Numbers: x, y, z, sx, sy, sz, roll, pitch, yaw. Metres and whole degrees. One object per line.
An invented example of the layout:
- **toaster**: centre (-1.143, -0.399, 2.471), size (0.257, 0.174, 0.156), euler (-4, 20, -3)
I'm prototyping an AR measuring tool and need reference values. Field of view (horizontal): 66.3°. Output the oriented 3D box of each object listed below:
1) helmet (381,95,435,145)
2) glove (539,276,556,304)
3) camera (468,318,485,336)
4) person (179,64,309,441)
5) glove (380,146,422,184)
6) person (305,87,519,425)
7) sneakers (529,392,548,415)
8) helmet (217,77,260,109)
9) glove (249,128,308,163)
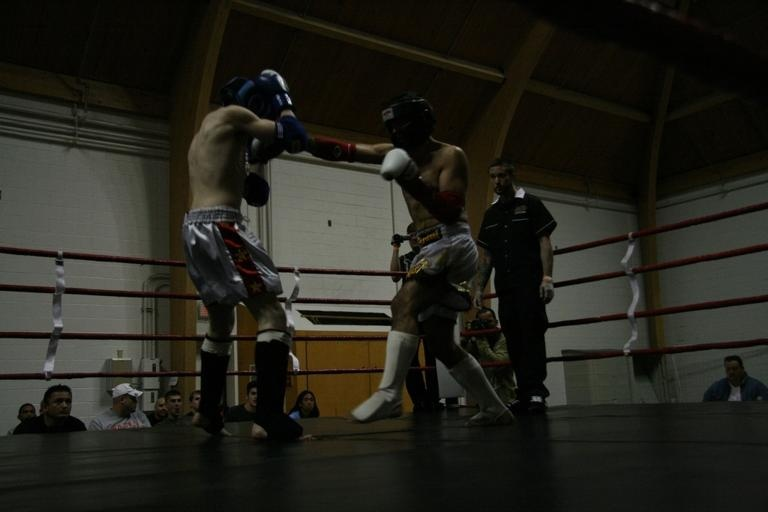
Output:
- **helmet**: centre (0.104, -0.692, 3.076), size (0.270, 0.248, 0.241), euler (0, -5, -10)
- **glove**: centre (1.127, 0.225, 4.083), size (0.090, 0.186, 0.176), euler (-3, -12, 13)
- **camera**: centre (0.833, 0.658, 5.479), size (0.066, 0.123, 0.167), euler (5, -7, -24)
- **person**: centre (-0.714, -0.056, 2.916), size (0.476, 1.856, 0.680), euler (11, -17, -43)
- **glove**: centre (0.073, -0.397, 2.549), size (0.170, 0.120, 0.066), euler (-27, -30, -49)
- **person**: centre (0.120, -0.002, 2.972), size (0.626, 1.669, 1.031), euler (-10, -15, 37)
- **sneakers**: centre (0.994, 0.959, 3.812), size (0.115, 0.107, 0.090), euler (-1, -12, 4)
- **helmet**: centre (-0.766, -0.859, 3.073), size (0.174, 0.159, 0.133), euler (12, -2, 0)
- **glove**: centre (-0.543, -0.538, 2.946), size (0.178, 0.086, 0.221), euler (-10, -3, -18)
